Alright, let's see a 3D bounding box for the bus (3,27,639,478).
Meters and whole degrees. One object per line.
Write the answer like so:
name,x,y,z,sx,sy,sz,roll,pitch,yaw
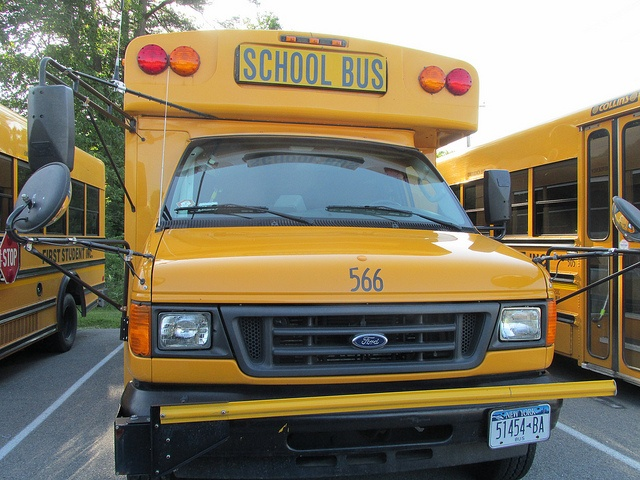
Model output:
bus,-0.512,0.043,5.632,3.203,2.988,5.146,2,-9,-18
